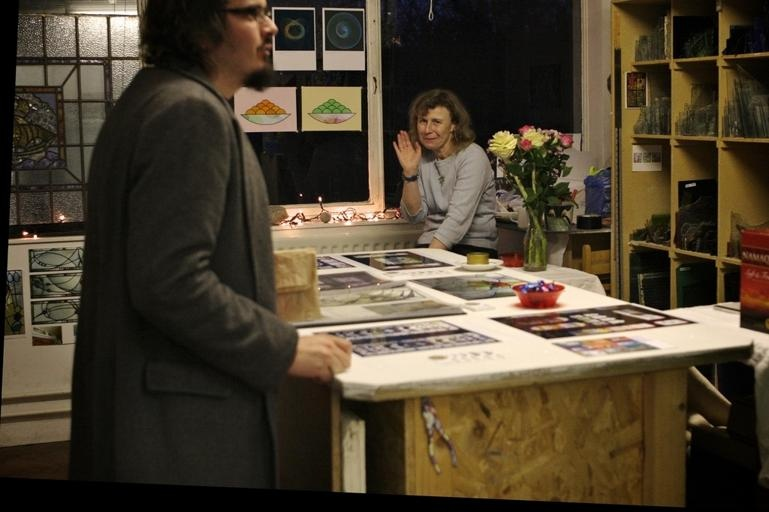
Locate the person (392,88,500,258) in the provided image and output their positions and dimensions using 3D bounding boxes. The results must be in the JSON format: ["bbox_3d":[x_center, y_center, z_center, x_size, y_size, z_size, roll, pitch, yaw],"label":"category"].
[{"bbox_3d":[0.386,-0.522,3.818,0.517,0.972,0.656,-3,10,-9],"label":"person"}]

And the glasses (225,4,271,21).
[{"bbox_3d":[-0.262,-0.465,1.191,0.087,0.031,0.018,-9,13,-37],"label":"glasses"}]

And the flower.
[{"bbox_3d":[0.654,-0.375,2.756,0.327,0.417,0.350,-2,23,22],"label":"flower"}]
